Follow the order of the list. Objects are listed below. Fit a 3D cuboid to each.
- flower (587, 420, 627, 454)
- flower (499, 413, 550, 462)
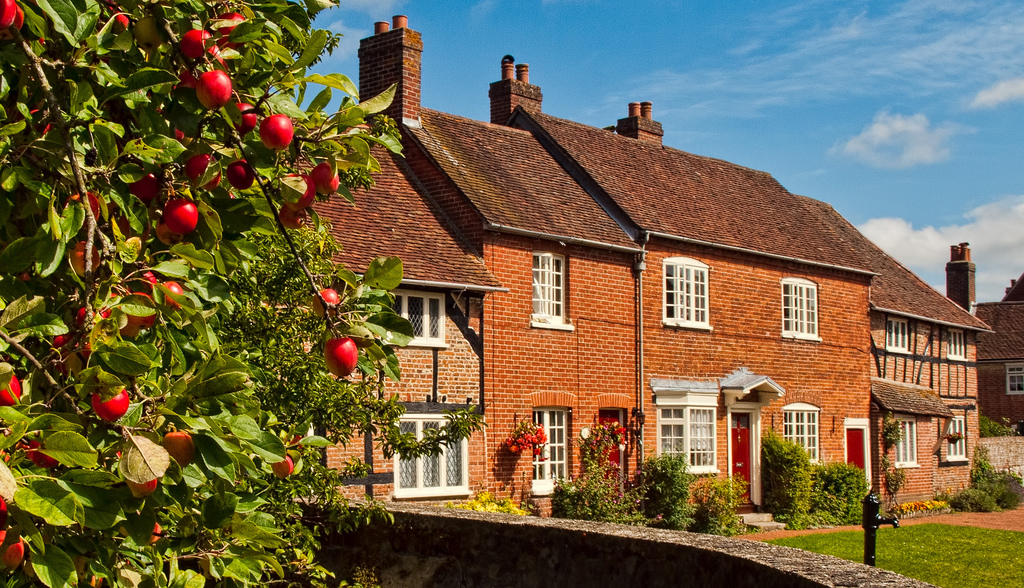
[{"bbox_3d":[1.818,2.699,21.473,0.635,0.342,0.621,5,8,-39],"label":"flower"},{"bbox_3d":[0.313,2.530,20.081,0.606,0.690,1.064,-5,-15,25],"label":"flower"}]
